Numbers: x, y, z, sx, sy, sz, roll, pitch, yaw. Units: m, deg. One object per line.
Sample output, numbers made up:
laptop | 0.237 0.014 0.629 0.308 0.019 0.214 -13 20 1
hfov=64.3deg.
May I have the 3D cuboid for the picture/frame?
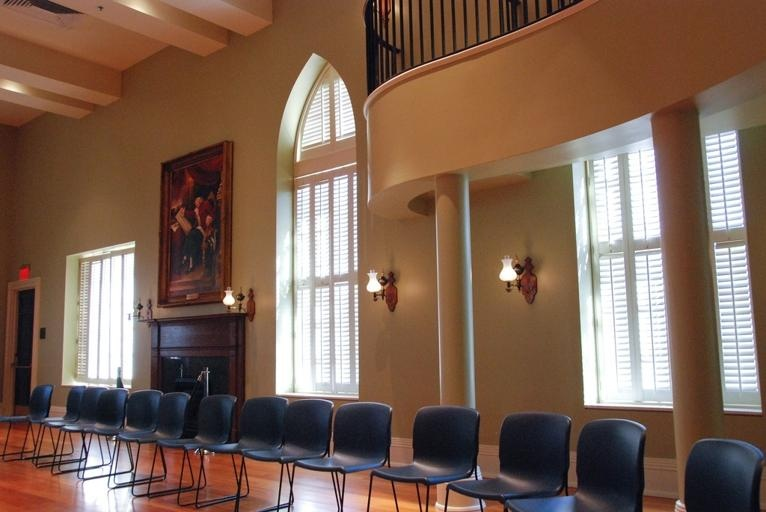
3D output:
picture/frame | -3.318 -0.490 10.950 2.436 3.686 0.251 -11 -15 42
